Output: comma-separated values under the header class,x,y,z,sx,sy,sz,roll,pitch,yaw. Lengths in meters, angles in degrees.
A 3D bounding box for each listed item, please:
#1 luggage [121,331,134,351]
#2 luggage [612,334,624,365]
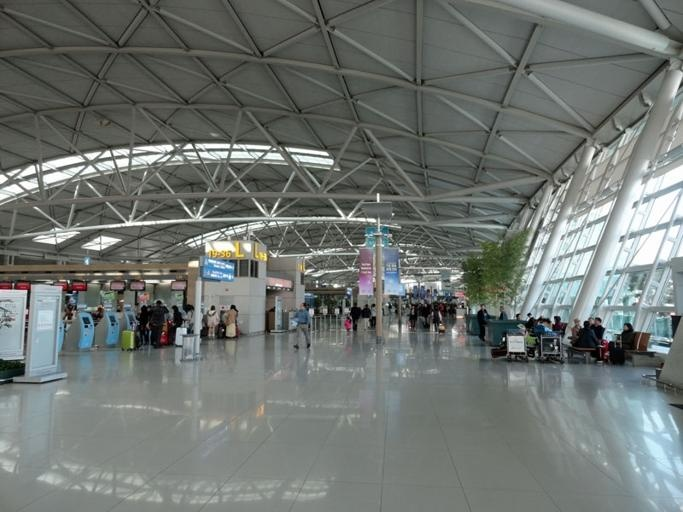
class,x,y,z,sx,sy,sz,roll,pitch,yaw
luggage,-8.726,3.447,18.979,0.456,0.768,0.308,1,-5,-17
luggage,8.803,2.954,14.668,0.358,0.819,0.763,-3,-6,30
